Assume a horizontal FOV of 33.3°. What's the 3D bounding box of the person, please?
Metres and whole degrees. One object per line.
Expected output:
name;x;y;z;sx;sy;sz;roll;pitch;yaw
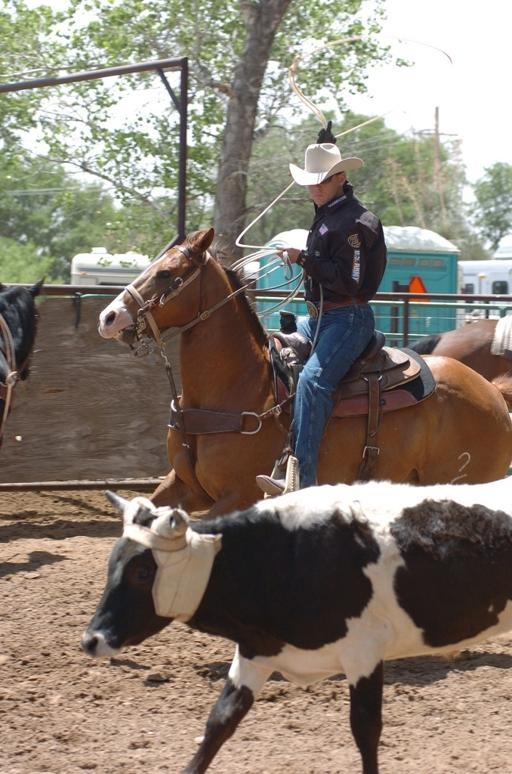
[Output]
person;0.361;-0.465;4.346;0.600;1.813;1.254;-3;13;9

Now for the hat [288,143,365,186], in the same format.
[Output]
hat;0.383;-1.166;4.464;0.307;0.139;0.331;-6;14;41
